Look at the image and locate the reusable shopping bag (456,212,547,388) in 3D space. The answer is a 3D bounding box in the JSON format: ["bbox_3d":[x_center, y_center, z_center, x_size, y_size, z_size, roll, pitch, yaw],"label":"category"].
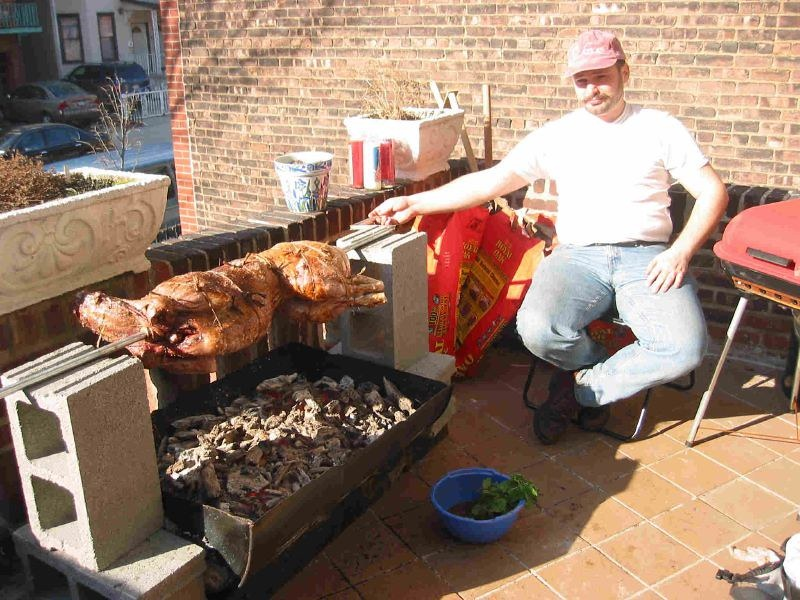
[{"bbox_3d":[0.640,0.003,4.498,0.672,1.187,0.305,31,15,39],"label":"reusable shopping bag"}]

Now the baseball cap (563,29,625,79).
[{"bbox_3d":[1.129,-1.442,3.590,0.243,0.181,0.327,-4,32,36],"label":"baseball cap"}]

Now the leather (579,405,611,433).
[{"bbox_3d":[1.223,0.742,3.900,0.182,0.156,0.151,-1,-3,28],"label":"leather"}]

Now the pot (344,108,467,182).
[{"bbox_3d":[0.071,-1.311,5.249,0.920,0.486,0.865,-6,22,2],"label":"pot"}]

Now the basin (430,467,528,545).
[{"bbox_3d":[0.372,1.061,3.140,0.421,0.246,0.374,-12,27,-22],"label":"basin"}]

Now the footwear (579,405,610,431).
[{"bbox_3d":[1.213,0.745,3.895,0.177,0.132,0.149,6,14,28],"label":"footwear"}]

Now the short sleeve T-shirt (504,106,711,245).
[{"bbox_3d":[1.359,-0.783,3.911,1.460,0.995,0.488,0,5,29],"label":"short sleeve T-shirt"}]

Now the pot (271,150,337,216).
[{"bbox_3d":[-0.668,-0.809,4.259,0.400,0.348,0.420,-2,19,1],"label":"pot"}]

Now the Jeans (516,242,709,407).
[{"bbox_3d":[1.251,0.110,3.593,0.893,1.069,0.363,0,-16,29],"label":"Jeans"}]
